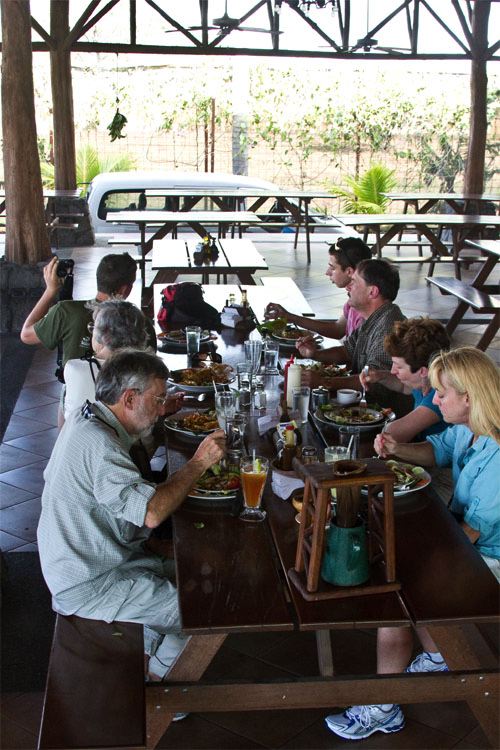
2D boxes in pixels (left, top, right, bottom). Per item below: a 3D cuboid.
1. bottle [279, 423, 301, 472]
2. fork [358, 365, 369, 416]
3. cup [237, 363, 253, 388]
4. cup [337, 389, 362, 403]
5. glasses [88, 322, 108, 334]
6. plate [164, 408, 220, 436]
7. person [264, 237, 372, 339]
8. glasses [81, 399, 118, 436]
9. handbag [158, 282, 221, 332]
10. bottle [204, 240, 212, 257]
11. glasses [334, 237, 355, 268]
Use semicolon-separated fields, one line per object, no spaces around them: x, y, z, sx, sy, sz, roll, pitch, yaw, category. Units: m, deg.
0.125;0.231;1.720;0.048;0.176;0.046;1;34;-1;bottle
0.519;0.079;2.516;0.030;0.210;0.031;8;11;33;fork
-0.023;0.008;2.537;0.071;0.108;0.069;0;24;0;cup
0.440;0.091;2.396;0.079;0.050;0.059;4;8;2;cup
-0.671;-0.207;2.442;0.101;0.032;0.102;2;17;-6;glasses
-0.201;0.187;2.133;0.126;0.024;0.120;-21;30;-37;plate
0.478;-0.436;3.899;0.675;0.240;0.996;-6;44;-2;person
-0.388;0.114;1.518;0.029;0.099;0.097;-51;36;-4;glasses
-0.473;-0.525;4.102;0.380;0.330;0.553;3;6;5;handbag
-0.471;-1.447;6.252;0.087;0.195;0.204;-3;17;-4;bottle
0.634;-0.831;3.725;0.058;0.188;0.190;-4;14;-14;glasses
